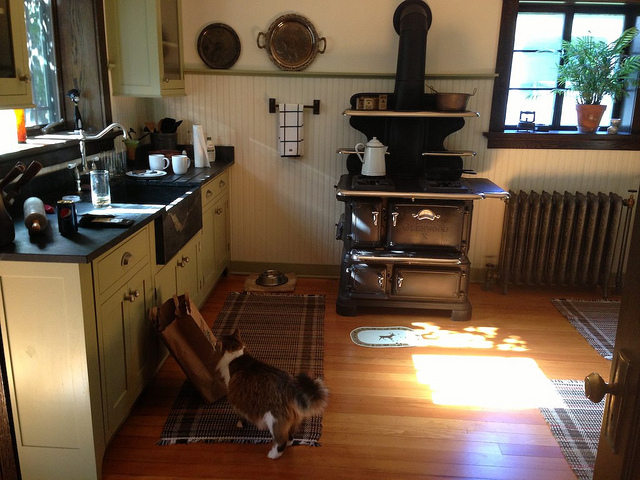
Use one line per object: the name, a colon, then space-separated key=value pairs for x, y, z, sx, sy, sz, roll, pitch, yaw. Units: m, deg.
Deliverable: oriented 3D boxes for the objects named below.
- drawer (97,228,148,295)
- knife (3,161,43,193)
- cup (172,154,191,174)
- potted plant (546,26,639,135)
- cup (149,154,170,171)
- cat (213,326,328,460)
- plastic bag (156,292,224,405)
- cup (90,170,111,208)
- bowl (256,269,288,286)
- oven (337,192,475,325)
drawer: x=-0.950 y=0.096 z=2.296 sx=0.191 sy=0.068 sz=0.297 roll=1 pitch=25 yaw=4
knife: x=-1.466 y=-0.310 z=2.342 sx=0.253 sy=0.063 sz=0.075 roll=-39 pitch=38 yaw=-1
cup: x=-1.063 y=-0.563 z=3.605 sx=0.147 sy=0.132 sz=0.098 roll=-4 pitch=10 yaw=-25
potted plant: x=2.246 y=-1.341 z=4.237 sx=0.890 sy=0.934 sz=0.746 roll=0 pitch=6 yaw=1
cup: x=-1.227 y=-0.585 z=3.679 sx=0.166 sy=0.155 sz=0.108 roll=3 pitch=18 yaw=-15
cat: x=-0.287 y=0.761 z=2.390 sx=0.776 sy=0.460 sz=0.263 roll=18 pitch=20 yaw=35
plastic bag: x=-0.750 y=0.636 z=2.697 sx=0.203 sy=0.631 sz=0.442 roll=-31 pitch=19 yaw=-5
cup: x=-1.243 y=-0.291 z=2.699 sx=0.098 sy=0.203 sz=0.143 roll=-8 pitch=20 yaw=-25
bowl: x=-0.428 y=0.328 z=4.186 sx=0.267 sy=0.069 sz=0.208 roll=1 pitch=19 yaw=0
oven: x=0.677 y=0.034 z=3.889 sx=1.073 sy=1.030 sz=0.753 roll=3 pitch=18 yaw=10
